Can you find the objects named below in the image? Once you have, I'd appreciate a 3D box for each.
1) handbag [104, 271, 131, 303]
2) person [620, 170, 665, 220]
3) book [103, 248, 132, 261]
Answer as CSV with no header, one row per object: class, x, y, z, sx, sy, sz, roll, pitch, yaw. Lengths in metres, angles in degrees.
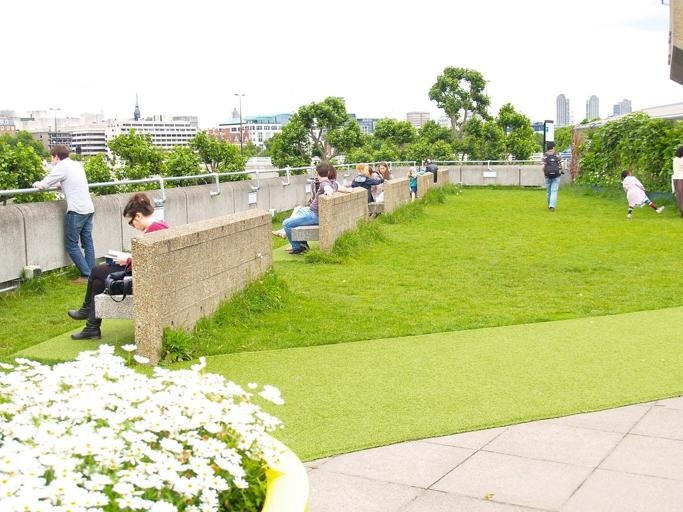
handbag,-2.306,0.316,6.426,0.234,0.128,0.326,2,12,-2
person,8.662,-1.785,18.278,1.000,1.740,0.534,-15,-35,13
book,-2.886,-0.016,7.914,0.204,0.096,0.269,6,5,31
